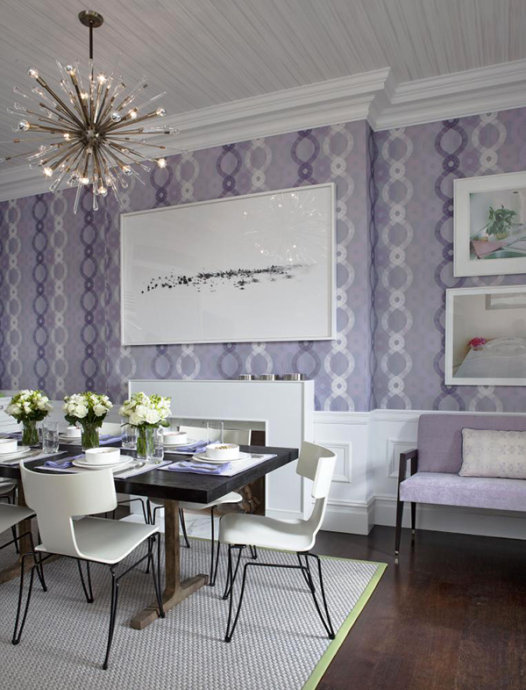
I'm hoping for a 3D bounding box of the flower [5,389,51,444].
[{"bbox_3d":[-1.152,0.385,2.672,0.276,0.290,0.260,0,4,-10],"label":"flower"}]

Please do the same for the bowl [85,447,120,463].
[{"bbox_3d":[-0.643,0.454,2.094,0.093,0.043,0.094,1,-3,0],"label":"bowl"}]

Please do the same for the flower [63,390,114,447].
[{"bbox_3d":[-0.816,0.384,2.396,0.210,0.206,0.194,-15,-13,36],"label":"flower"}]

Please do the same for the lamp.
[{"bbox_3d":[-1.053,-1.515,3.301,0.958,1.161,0.974,-1,-11,-3],"label":"lamp"}]

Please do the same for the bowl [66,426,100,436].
[{"bbox_3d":[-0.915,0.439,2.600,0.106,0.053,0.123,-2,-8,22],"label":"bowl"}]

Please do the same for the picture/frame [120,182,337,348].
[{"bbox_3d":[-0.204,-0.599,3.879,1.335,0.834,0.033,-1,1,27],"label":"picture/frame"}]

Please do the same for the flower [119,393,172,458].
[{"bbox_3d":[-0.505,0.373,2.244,0.184,0.245,0.230,-2,-8,-19],"label":"flower"}]
